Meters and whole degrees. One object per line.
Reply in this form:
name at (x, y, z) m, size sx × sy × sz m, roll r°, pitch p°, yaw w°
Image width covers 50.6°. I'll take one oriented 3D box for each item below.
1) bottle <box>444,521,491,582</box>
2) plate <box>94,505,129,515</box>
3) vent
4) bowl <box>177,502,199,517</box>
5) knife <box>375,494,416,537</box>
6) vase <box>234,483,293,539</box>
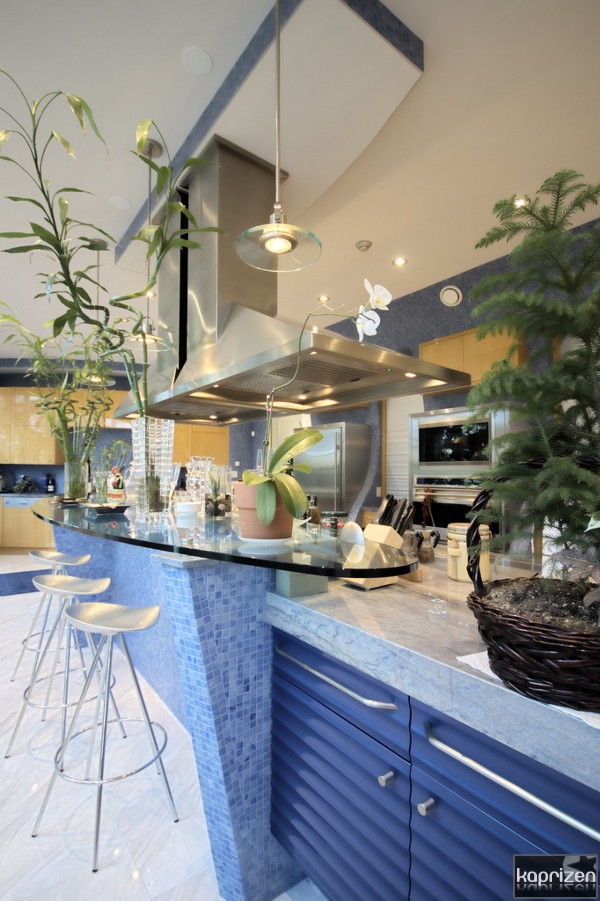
bottle at (0.519, 0.310, 1.930) m, size 0.150 × 0.158 × 0.136 m, roll 0°, pitch 0°, yaw -19°
plate at (-0.824, 0.260, 2.771) m, size 0.140 × 0.037 × 0.081 m, roll -1°, pitch 5°, yaw -38°
vent at (-0.270, -0.832, 3.254) m, size 0.906 × 1.206 × 1.863 m, roll -2°, pitch -3°, yaw -40°
bowl at (-0.468, 0.237, 2.622) m, size 0.092 × 0.050 × 0.107 m, roll 1°, pitch 4°, yaw -9°
knife at (0.314, 0.207, 2.094) m, size 0.059 × 0.143 × 0.108 m, roll 4°, pitch 19°, yaw -28°
vase at (-0.099, 0.176, 1.742) m, size 0.161 × 0.152 × 0.173 m, roll 6°, pitch -7°, yaw 8°
